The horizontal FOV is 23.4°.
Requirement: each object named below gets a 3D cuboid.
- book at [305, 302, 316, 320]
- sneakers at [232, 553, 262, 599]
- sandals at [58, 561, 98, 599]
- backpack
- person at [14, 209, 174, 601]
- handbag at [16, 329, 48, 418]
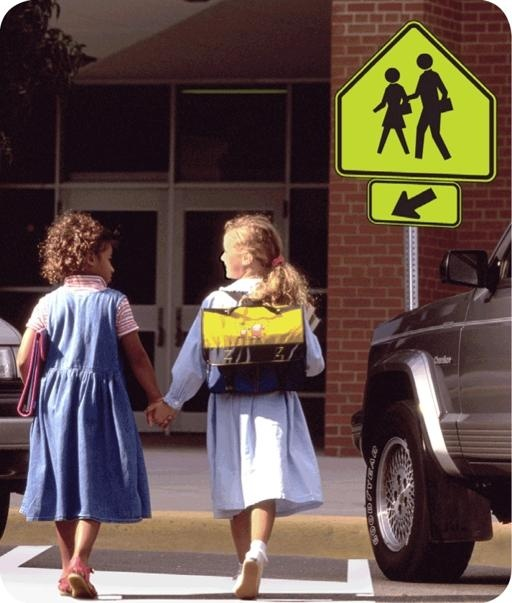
[{"bbox_3d":[0.272,0.043,6.094,0.006,0.088,0.077,-2,-4,38],"label":"book"},{"bbox_3d":[-0.030,1.225,5.527,0.080,0.112,0.255,8,-40,1],"label":"sneakers"},{"bbox_3d":[-0.828,1.278,5.705,0.107,0.112,0.248,1,-21,1],"label":"sandals"},{"bbox_3d":[0.012,0.211,5.959,0.476,0.581,0.213,-1,-17,1],"label":"backpack"},{"bbox_3d":[-0.829,0.474,5.950,0.592,1.802,0.668,1,3,-45],"label":"person"},{"bbox_3d":[-1.077,0.351,5.961,0.085,0.439,0.400,10,-3,-3],"label":"handbag"}]
